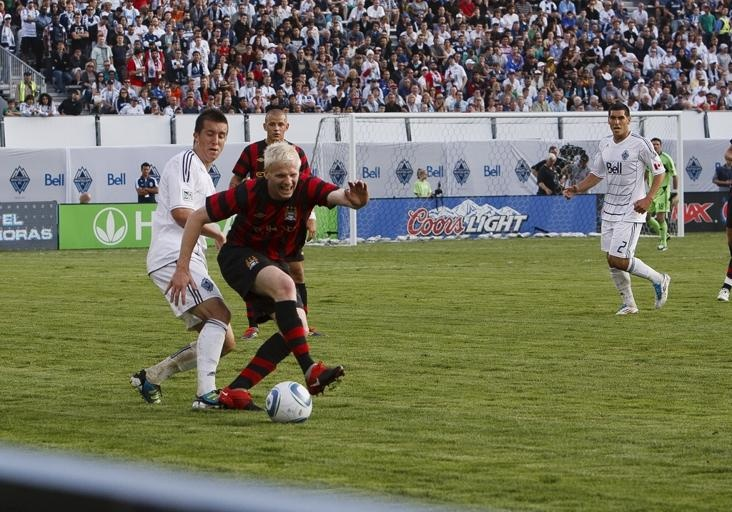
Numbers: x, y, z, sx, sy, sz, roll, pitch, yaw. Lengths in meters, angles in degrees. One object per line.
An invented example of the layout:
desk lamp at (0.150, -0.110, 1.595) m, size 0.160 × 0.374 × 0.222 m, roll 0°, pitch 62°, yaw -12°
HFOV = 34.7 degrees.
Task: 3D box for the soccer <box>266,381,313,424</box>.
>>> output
soccer at (-0.649, 1.242, 9.888) m, size 0.357 × 0.334 × 0.347 m, roll -28°, pitch -26°, yaw -20°

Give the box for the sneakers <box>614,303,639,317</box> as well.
sneakers at (3.115, 0.658, 13.882) m, size 0.342 × 0.161 × 0.112 m, roll -2°, pitch -1°, yaw -7°

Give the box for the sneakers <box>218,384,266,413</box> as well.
sneakers at (-1.044, 1.241, 10.099) m, size 0.438 × 0.197 × 0.156 m, roll 6°, pitch 0°, yaw -6°

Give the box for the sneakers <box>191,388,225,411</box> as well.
sneakers at (-1.350, 1.252, 10.153) m, size 0.335 × 0.151 × 0.117 m, roll -1°, pitch -2°, yaw 10°

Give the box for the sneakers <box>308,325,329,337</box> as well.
sneakers at (-0.520, 0.825, 12.667) m, size 0.216 × 0.096 × 0.075 m, roll 1°, pitch 2°, yaw 16°

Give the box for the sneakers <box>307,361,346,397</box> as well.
sneakers at (-0.348, 1.070, 10.062) m, size 0.367 × 0.229 × 0.126 m, roll -30°, pitch 24°, yaw 34°

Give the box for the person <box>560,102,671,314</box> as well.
person at (3.004, -0.556, 13.854) m, size 1.026 × 2.483 × 0.935 m, roll 1°, pitch 4°, yaw 21°
